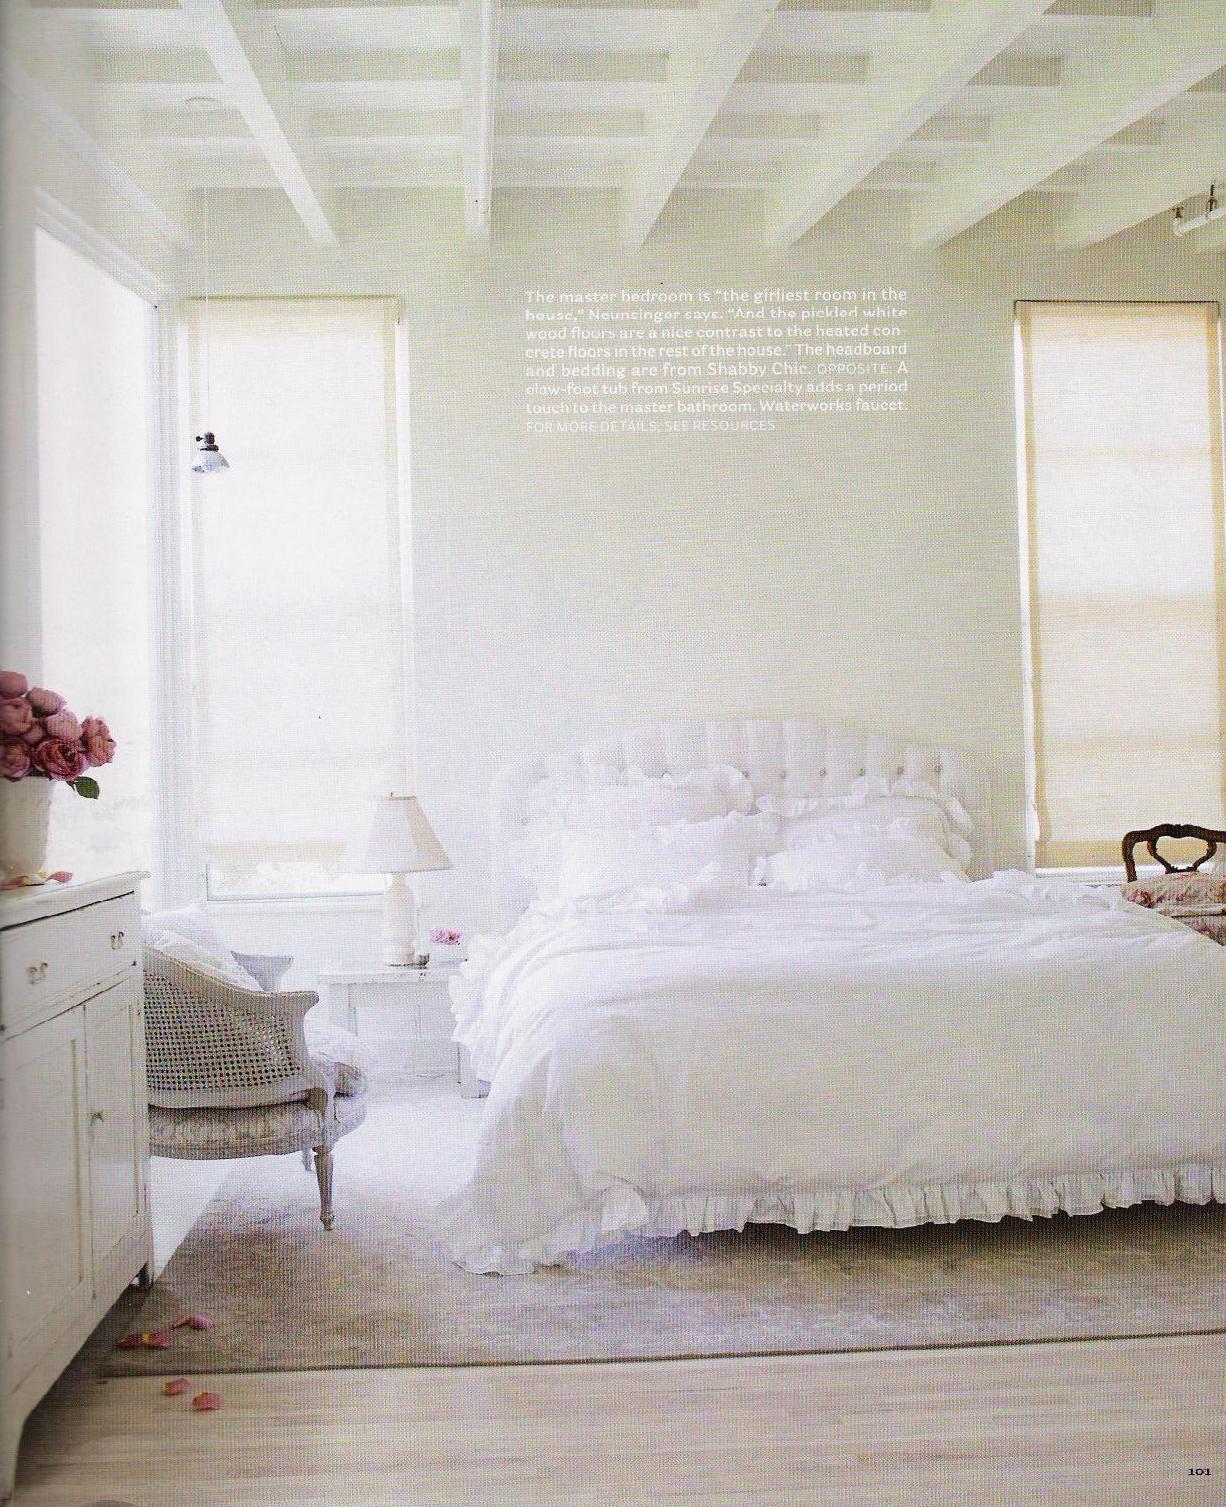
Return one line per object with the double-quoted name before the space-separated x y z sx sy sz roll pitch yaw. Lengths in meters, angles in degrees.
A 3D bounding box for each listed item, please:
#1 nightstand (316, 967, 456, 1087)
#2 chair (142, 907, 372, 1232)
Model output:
"nightstand" -0.466 0.597 3.695 0.373 0.269 0.250 0 -6 -5
"chair" -0.761 0.598 3.274 0.603 0.527 0.510 3 3 4
